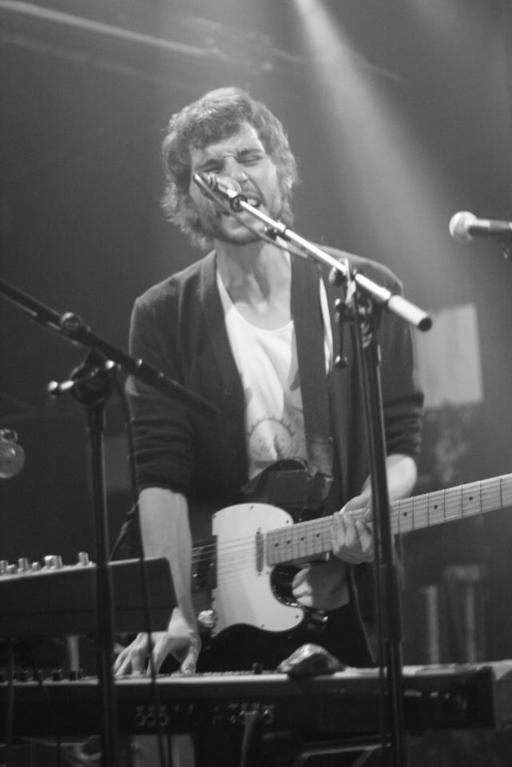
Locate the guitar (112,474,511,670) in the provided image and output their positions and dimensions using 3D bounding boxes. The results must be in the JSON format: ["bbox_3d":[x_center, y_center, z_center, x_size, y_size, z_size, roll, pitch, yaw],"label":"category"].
[{"bbox_3d":[0.207,0.458,3.298,0.834,0.352,0.146,-8,-8,30],"label":"guitar"}]

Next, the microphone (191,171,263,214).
[{"bbox_3d":[-0.064,-0.483,3.169,0.106,0.079,0.314,-11,25,-10],"label":"microphone"}]
